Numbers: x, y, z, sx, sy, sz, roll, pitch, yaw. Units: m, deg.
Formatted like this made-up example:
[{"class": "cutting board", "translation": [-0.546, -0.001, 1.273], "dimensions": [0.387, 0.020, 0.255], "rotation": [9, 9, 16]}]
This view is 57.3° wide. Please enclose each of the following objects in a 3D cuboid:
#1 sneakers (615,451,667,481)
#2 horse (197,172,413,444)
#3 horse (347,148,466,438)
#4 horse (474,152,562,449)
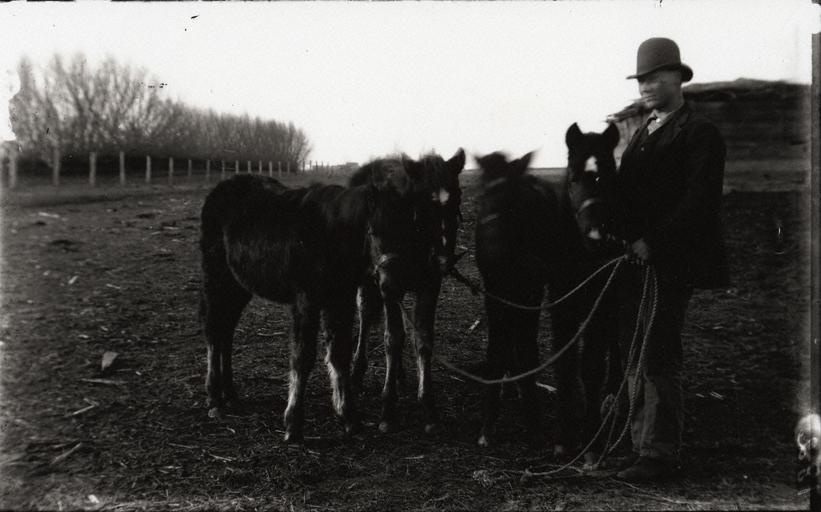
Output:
[{"class": "sneakers", "translation": [2.310, 2.073, 7.392], "dimensions": [0.565, 0.231, 0.203], "rotation": [-1, -1, -5]}, {"class": "horse", "translation": [-1.086, 0.556, 8.370], "dimensions": [3.736, 2.933, 1.054], "rotation": [6, 8, 41]}, {"class": "horse", "translation": [-0.070, 0.334, 8.275], "dimensions": [0.984, 3.011, 1.340], "rotation": [-2, 6, -24]}, {"class": "horse", "translation": [1.100, 0.442, 7.910], "dimensions": [0.880, 3.049, 0.629], "rotation": [1, 5, 3]}]
